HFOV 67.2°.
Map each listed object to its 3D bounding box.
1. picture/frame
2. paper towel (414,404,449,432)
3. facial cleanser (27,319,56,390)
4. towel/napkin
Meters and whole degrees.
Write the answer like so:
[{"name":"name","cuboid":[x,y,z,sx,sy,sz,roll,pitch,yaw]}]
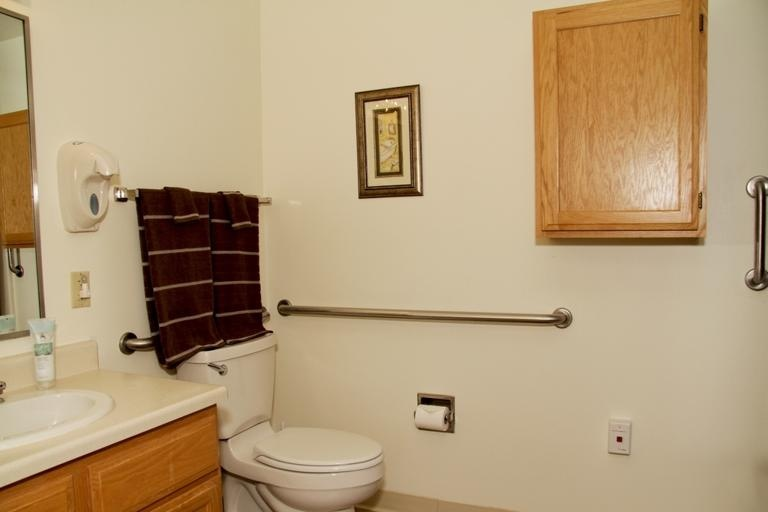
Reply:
[{"name":"picture/frame","cuboid":[0.032,-0.617,3.060,0.395,0.645,0.036,0,1,20]},{"name":"paper towel","cuboid":[0.239,0.827,2.949,0.177,0.124,0.131,5,-34,17]},{"name":"facial cleanser","cuboid":[-1.387,0.393,2.343,0.092,0.274,0.078,-2,3,-14]},{"name":"towel/napkin","cuboid":[-0.850,0.114,2.808,0.209,0.872,0.649,1,4,36]}]
